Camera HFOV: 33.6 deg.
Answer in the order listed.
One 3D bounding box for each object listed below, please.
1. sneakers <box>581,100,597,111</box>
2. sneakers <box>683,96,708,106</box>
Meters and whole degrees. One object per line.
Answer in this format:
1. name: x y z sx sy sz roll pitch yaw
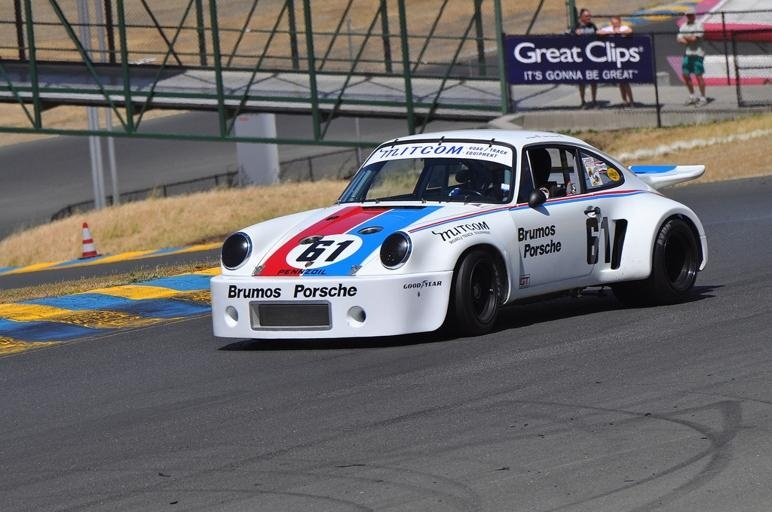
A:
1. sneakers: 4.172 -3.082 26.045 0.176 0.178 0.471 -2 -2 8
2. sneakers: 6.512 -3.200 26.479 0.550 0.181 0.171 2 -1 -18
